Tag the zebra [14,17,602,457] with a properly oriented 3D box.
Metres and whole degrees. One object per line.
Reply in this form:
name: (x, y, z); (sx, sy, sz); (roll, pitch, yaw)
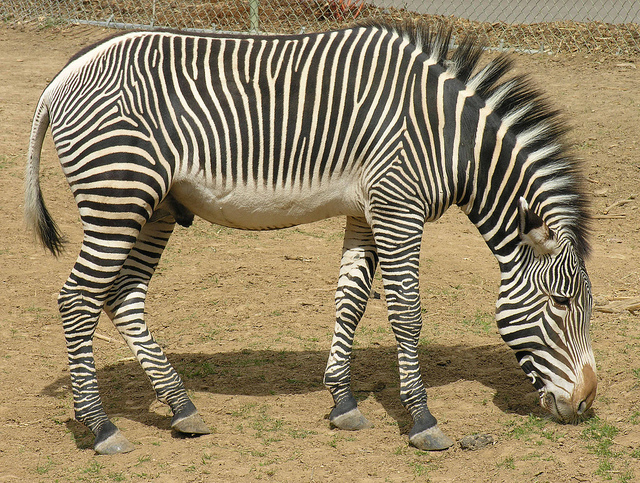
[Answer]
zebra: (-0.040, -0.152, 7.811); (4.753, 3.037, 1.179); (3, 4, -7)
